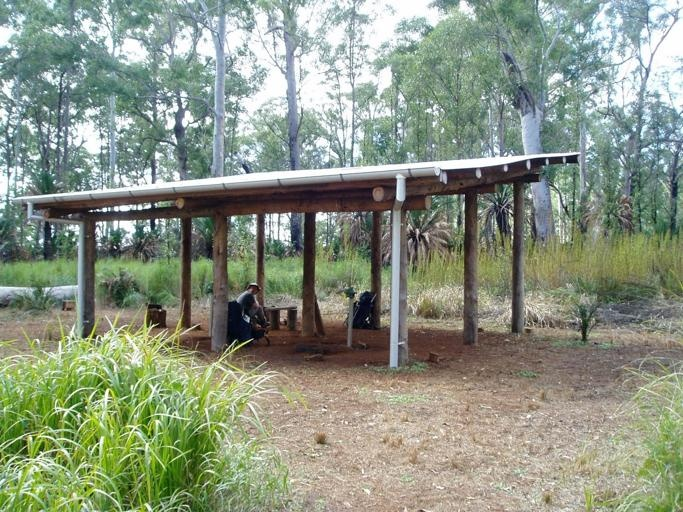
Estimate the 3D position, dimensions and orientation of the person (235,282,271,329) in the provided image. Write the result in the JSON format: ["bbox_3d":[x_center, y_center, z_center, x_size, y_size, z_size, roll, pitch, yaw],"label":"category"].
[{"bbox_3d":[-1.817,1.144,13.083,0.572,1.195,2.364,-1,7,-7],"label":"person"}]
